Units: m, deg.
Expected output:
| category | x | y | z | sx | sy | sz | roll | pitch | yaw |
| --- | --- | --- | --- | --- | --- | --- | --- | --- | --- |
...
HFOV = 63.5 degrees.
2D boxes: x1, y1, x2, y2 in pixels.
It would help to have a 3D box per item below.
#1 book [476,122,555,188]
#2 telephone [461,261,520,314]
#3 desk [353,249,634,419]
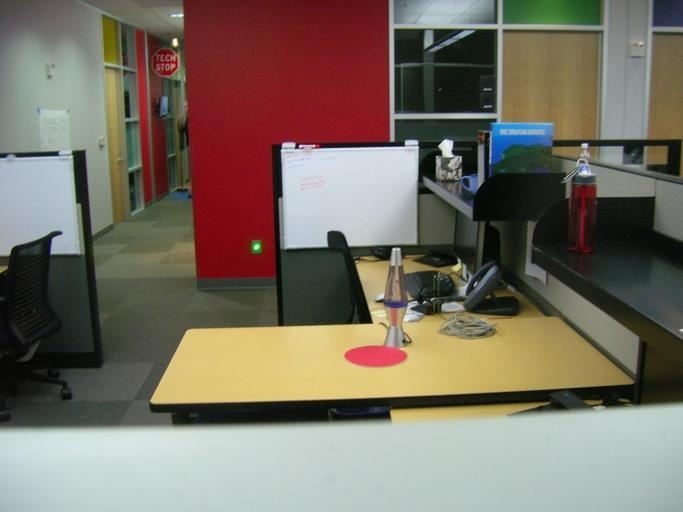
| category | x | y | z | sx | sy | sz | roll | pitch | yaw |
| --- | --- | --- | --- | --- | --- | --- | --- | --- | --- |
| book | 0.628 | -0.387 | 2.175 | 0.345 | 0.369 | 0.193 | 1 | 10 | 6 |
| telephone | 0.604 | 0.128 | 2.168 | 0.215 | 0.205 | 0.211 | -3 | 12 | 0 |
| desk | 0.416 | 0.315 | 1.694 | 0.758 | 0.297 | 0.589 | -1 | -11 | 1 |
